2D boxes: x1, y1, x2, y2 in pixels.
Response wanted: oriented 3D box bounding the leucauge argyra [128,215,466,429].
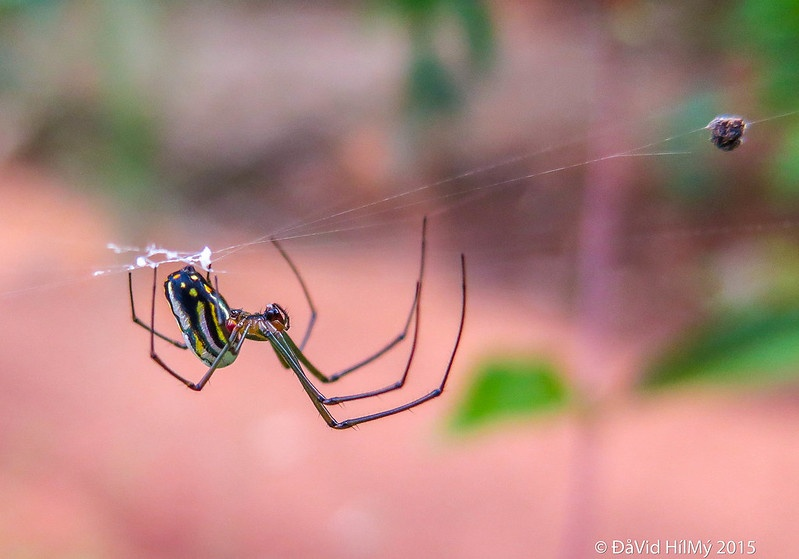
[{"bbox_3d":[-0.144,0.019,1.055,0.392,0.296,0.219,8,-76,27],"label":"leucauge argyra"}]
